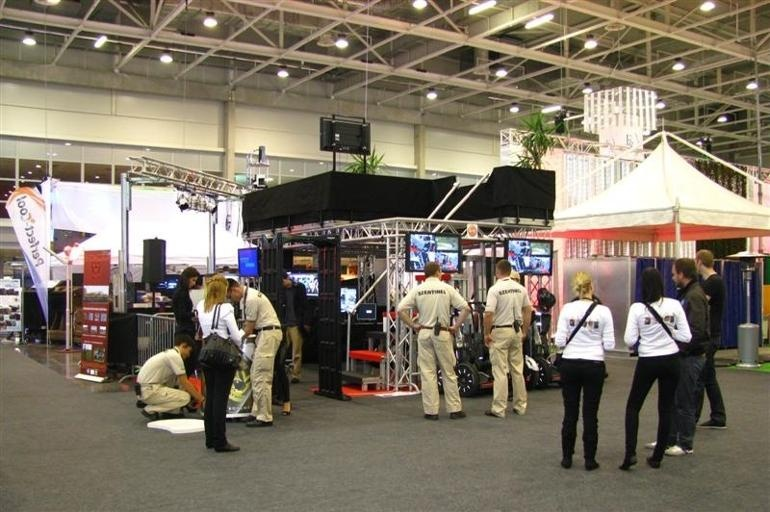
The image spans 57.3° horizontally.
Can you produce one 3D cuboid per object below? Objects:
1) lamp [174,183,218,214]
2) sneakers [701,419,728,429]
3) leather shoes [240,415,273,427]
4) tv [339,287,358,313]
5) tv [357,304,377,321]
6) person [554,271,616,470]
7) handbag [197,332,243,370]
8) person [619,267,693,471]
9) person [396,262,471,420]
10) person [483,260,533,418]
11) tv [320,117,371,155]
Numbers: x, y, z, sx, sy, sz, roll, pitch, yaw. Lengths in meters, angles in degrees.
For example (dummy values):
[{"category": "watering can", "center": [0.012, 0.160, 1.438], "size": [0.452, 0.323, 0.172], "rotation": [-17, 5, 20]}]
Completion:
[{"category": "lamp", "center": [-5.784, -1.648, 21.485], "size": [0.775, 0.691, 1.340], "rotation": [1, 4, 25]}, {"category": "sneakers", "center": [4.992, 2.567, 10.692], "size": [0.405, 0.150, 0.152], "rotation": [3, 0, 33]}, {"category": "leather shoes", "center": [-2.048, 2.601, 11.065], "size": [0.475, 0.177, 0.170], "rotation": [6, -10, 5]}, {"category": "tv", "center": [-0.818, 0.955, 15.839], "size": [0.231, 0.527, 0.522], "rotation": [2, 4, 31]}, {"category": "tv", "center": [-0.426, 1.284, 15.695], "size": [0.391, 0.093, 0.401], "rotation": [6, 14, 9]}, {"category": "person", "center": [2.593, 1.489, 9.196], "size": [0.711, 2.517, 0.448], "rotation": [1, 4, 16]}, {"category": "handbag", "center": [-2.259, 1.308, 9.656], "size": [0.472, 0.414, 0.249], "rotation": [21, -39, -26]}, {"category": "person", "center": [3.459, 1.451, 9.021], "size": [0.809, 2.604, 0.373], "rotation": [1, 4, 16]}, {"category": "person", "center": [0.809, 1.371, 11.559], "size": [1.095, 2.531, 0.712], "rotation": [0, 4, 4]}, {"category": "person", "center": [1.992, 1.327, 11.547], "size": [0.797, 2.520, 0.570], "rotation": [-1, 4, -12]}, {"category": "tv", "center": [-0.883, -2.615, 15.245], "size": [1.020, 0.869, 0.712], "rotation": [-1, 4, -8]}]
